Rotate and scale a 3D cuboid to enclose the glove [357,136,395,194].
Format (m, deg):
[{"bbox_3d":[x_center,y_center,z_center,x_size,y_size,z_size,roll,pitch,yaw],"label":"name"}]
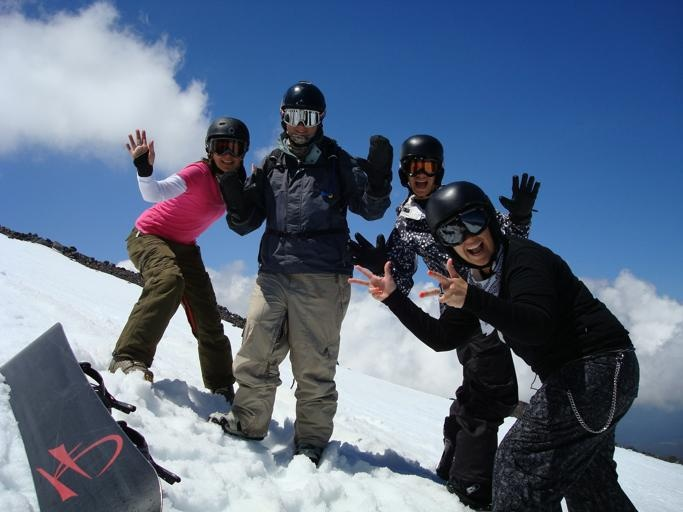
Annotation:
[{"bbox_3d":[0.350,-0.930,5.527,0.369,0.611,0.259,6,7,5],"label":"glove"}]

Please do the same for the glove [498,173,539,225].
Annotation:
[{"bbox_3d":[1.999,-0.682,6.030,0.398,0.177,0.675,2,-39,16],"label":"glove"}]

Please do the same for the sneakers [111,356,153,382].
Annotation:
[{"bbox_3d":[-2.065,1.107,5.276,0.481,0.252,0.175,8,6,12],"label":"sneakers"}]

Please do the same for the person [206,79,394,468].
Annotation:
[{"bbox_3d":[-0.467,0.059,5.549,1.366,3.758,1.102,5,6,2],"label":"person"}]
